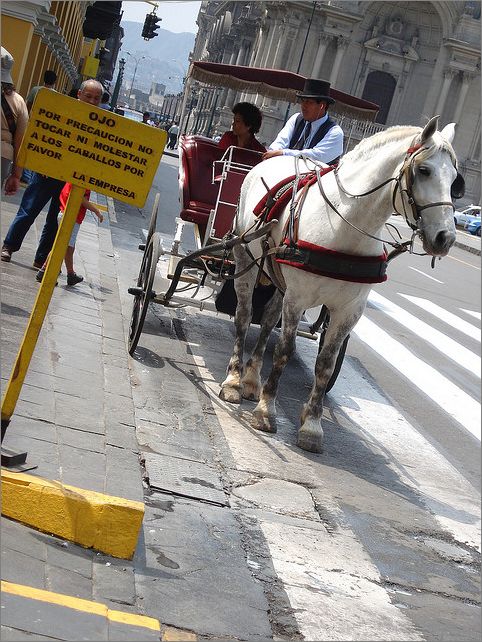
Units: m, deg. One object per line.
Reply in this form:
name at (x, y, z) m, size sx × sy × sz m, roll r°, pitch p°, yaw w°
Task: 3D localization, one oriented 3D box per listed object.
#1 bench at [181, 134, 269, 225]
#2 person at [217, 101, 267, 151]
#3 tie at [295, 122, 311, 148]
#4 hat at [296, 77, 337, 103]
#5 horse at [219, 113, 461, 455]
bench at (-0.210, -1.871, 8.927) m, size 1.145 × 1.234 × 1.118 m, roll 5°, pitch 0°, yaw -2°
person at (0.088, -2.469, 8.907) m, size 0.693 × 0.662 × 0.439 m, roll 11°, pitch 34°, yaw 1°
tie at (0.683, -1.995, 7.481) m, size 0.082 × 0.448 × 0.058 m, roll 11°, pitch -24°, yaw 34°
hat at (0.800, -2.446, 7.304) m, size 0.366 × 0.173 × 0.372 m, roll 7°, pitch 16°, yaw 13°
horse at (0.602, -0.300, 5.948) m, size 1.094 × 2.470 × 3.518 m, roll 9°, pitch 5°, yaw -19°
